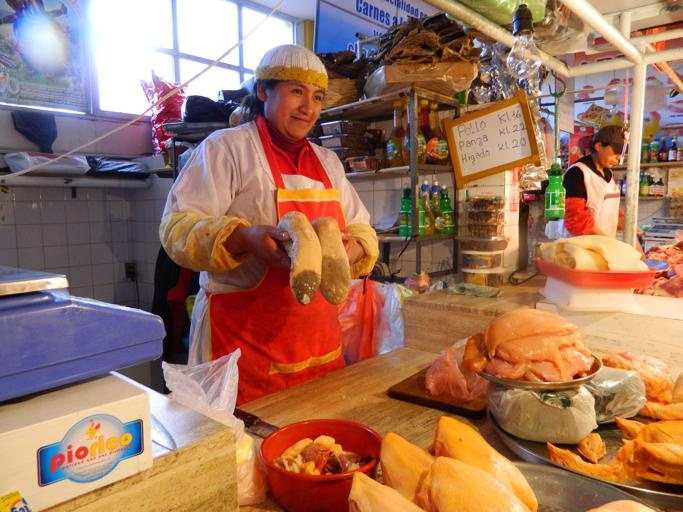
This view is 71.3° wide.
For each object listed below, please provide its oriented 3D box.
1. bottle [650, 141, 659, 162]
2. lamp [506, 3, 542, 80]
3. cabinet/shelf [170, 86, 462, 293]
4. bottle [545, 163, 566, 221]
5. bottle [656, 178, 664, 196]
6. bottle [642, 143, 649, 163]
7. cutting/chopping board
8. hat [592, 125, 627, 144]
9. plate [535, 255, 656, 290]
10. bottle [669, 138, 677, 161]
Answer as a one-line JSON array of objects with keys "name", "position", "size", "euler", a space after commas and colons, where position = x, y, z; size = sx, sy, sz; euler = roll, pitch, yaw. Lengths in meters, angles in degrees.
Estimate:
[{"name": "bottle", "position": [3.071, -1.028, 4.664], "size": [0.077, 0.202, 0.285], "euler": [1, 8, 33]}, {"name": "lamp", "position": [0.573, -0.703, 1.504], "size": [0.100, 0.217, 0.370], "euler": [-1, 7, 22]}, {"name": "cabinet/shelf", "position": [-0.228, -0.250, 1.694], "size": [0.532, 0.702, 0.724], "euler": [2, 8, 35]}, {"name": "bottle", "position": [1.184, -0.368, 2.648], "size": [0.091, 0.296, 0.196], "euler": [-1, 7, 22]}, {"name": "bottle", "position": [3.062, -0.665, 4.576], "size": [0.087, 0.161, 0.058], "euler": [-7, 8, -28]}, {"name": "bottle", "position": [2.996, -1.015, 4.693], "size": [0.061, 0.190, 0.268], "euler": [1, 8, 32]}, {"name": "cutting/chopping board", "position": [0.264, 0.368, 1.257], "size": [0.169, 0.047, 0.259], "euler": [-9, 9, -40]}, {"name": "hat", "position": [1.681, -0.771, 2.991], "size": [0.110, 0.093, 0.141], "euler": [0, 21, 1]}, {"name": "plate", "position": [0.722, 0.057, 1.365], "size": [0.296, 0.086, 0.175], "euler": [0, 8, 22]}, {"name": "bottle", "position": [3.147, -1.005, 4.520], "size": [0.069, 0.202, 0.298], "euler": [2, 8, 35]}]
